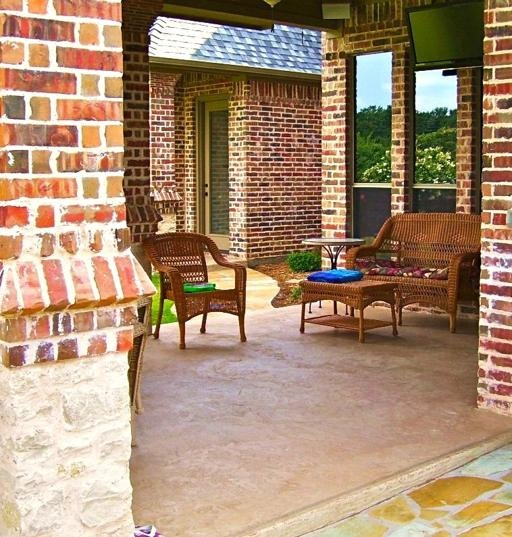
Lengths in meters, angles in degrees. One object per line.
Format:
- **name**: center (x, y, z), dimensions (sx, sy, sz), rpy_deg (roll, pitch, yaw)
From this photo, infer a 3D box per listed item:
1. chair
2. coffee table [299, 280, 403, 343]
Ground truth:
- **chair**: center (-0.743, 0.183, 5.956), dimensions (1.095, 1.068, 1.017), rpy_deg (-8, 14, -44)
- **coffee table**: center (1.116, 0.458, 6.023), dimensions (0.873, 0.663, 0.949), rpy_deg (-7, 9, -44)
